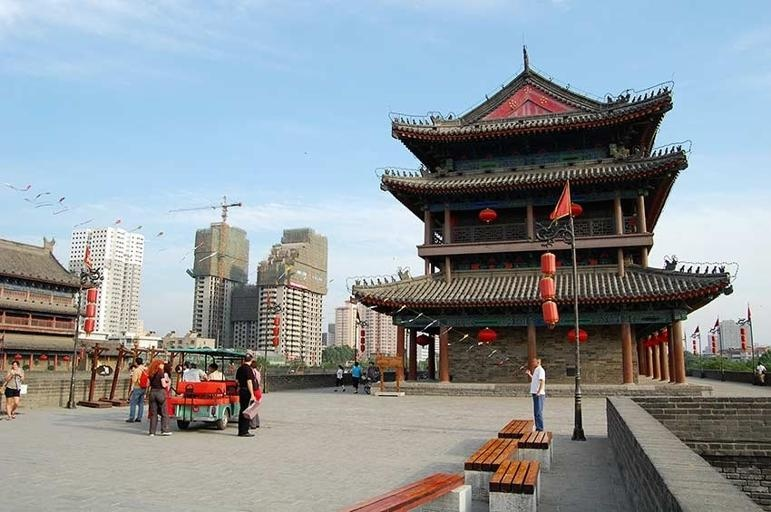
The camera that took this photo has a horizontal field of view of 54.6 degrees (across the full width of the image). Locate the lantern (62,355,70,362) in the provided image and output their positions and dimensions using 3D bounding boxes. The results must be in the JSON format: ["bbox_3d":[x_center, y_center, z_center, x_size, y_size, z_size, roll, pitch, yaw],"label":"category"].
[{"bbox_3d":[-28.507,9.231,67.172,0.402,0.540,0.882,-2,-11,11],"label":"lantern"}]

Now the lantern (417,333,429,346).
[{"bbox_3d":[2.264,5.112,45.801,0.790,0.690,0.733,1,-11,-6],"label":"lantern"}]

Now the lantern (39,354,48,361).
[{"bbox_3d":[-29.635,8.884,65.161,0.580,0.316,0.585,-10,-13,37],"label":"lantern"}]

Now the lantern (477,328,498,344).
[{"bbox_3d":[5.466,4.373,40.881,0.887,0.796,0.900,-12,-6,39],"label":"lantern"}]

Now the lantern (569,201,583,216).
[{"bbox_3d":[10.180,-2.509,40.143,1.002,0.741,1.289,-7,6,15],"label":"lantern"}]

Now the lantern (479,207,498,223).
[{"bbox_3d":[5.860,-2.347,43.061,0.972,0.877,0.910,-3,-3,3],"label":"lantern"}]
